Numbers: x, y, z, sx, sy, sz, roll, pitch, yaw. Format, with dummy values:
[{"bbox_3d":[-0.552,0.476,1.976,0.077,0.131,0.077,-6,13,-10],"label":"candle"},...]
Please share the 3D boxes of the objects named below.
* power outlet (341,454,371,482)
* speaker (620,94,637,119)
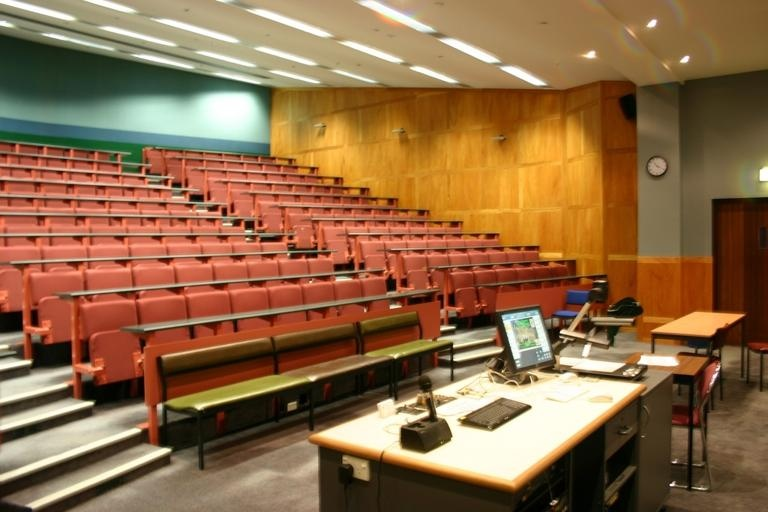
[{"bbox_3d":[-0.123,0.935,2.153,0.208,0.105,0.027,0,-1,30],"label":"power outlet"},{"bbox_3d":[3.610,-2.190,7.226,0.271,0.380,0.207,9,15,19],"label":"speaker"}]
